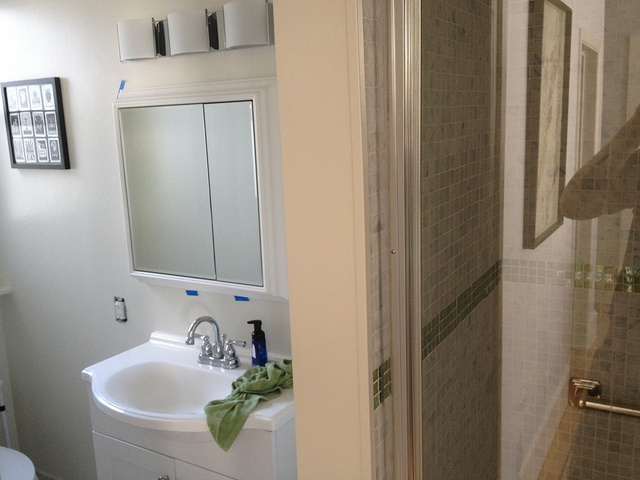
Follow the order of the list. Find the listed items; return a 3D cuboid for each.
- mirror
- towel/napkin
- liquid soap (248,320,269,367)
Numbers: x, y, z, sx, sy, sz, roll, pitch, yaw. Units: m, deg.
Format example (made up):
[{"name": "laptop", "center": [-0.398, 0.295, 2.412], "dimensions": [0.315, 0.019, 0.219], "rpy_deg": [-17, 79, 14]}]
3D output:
[{"name": "mirror", "center": [-0.521, -0.255, 2.319], "dimensions": [0.918, 1.016, 0.076], "rpy_deg": [4, 13, 23]}, {"name": "towel/napkin", "center": [-0.278, 0.637, 2.080], "dimensions": [0.296, 0.176, 0.519], "rpy_deg": [0, 13, 29]}, {"name": "liquid soap", "center": [-0.271, 0.452, 2.263], "dimensions": [0.075, 0.229, 0.075], "rpy_deg": [-5, 22, -13]}]
